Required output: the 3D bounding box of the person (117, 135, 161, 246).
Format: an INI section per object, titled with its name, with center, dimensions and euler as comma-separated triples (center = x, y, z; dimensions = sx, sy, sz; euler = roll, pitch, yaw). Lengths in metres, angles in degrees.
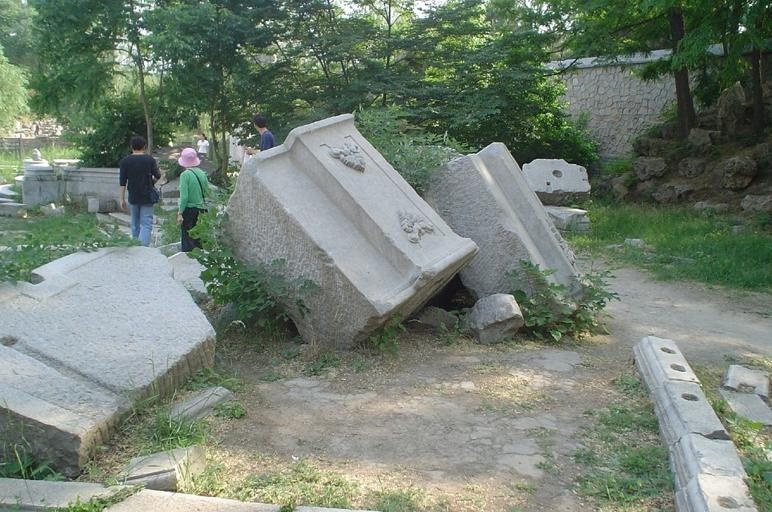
[person]
center = -3.531, -0.916, 8.139
dimensions = 0.624, 1.599, 0.801
euler = -14, 18, -20
